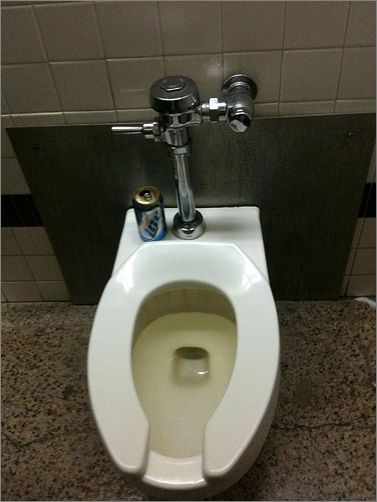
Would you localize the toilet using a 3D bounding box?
[{"bbox_3d":[0.007,0.170,0.778,0.255,0.289,0.440,-2,62,6],"label":"toilet"}]
